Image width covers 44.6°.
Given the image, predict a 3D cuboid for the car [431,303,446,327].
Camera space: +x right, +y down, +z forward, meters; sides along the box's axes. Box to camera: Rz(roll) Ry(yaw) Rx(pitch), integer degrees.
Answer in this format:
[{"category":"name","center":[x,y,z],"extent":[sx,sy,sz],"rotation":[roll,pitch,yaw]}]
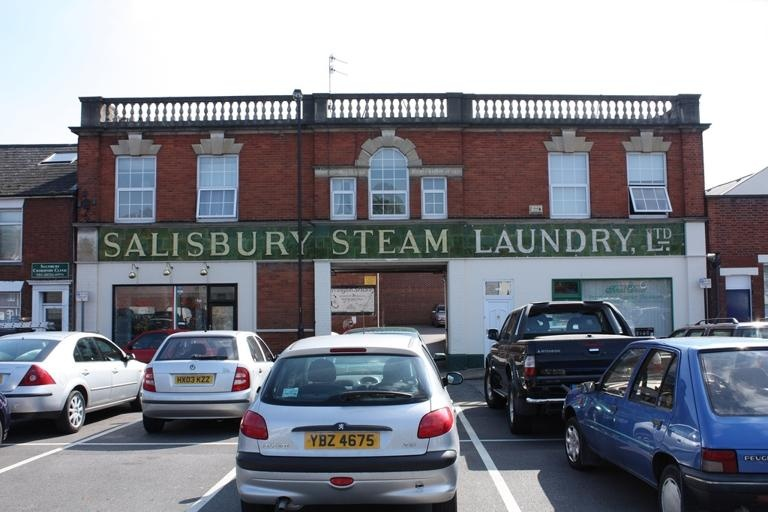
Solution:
[{"category":"car","center":[3.305,3.694,56.949],"extent":[0.900,0.786,2.112],"rotation":[0,4,2]}]

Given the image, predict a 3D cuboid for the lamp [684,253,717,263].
[{"category":"lamp","center":[11.302,0.081,33.332],"extent":[1.051,0.452,0.330],"rotation":[-4,-4,16]}]

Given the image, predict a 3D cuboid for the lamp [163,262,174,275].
[{"category":"lamp","center":[-7.625,0.472,32.990],"extent":[0.321,0.436,0.386],"rotation":[-3,-4,-7]}]

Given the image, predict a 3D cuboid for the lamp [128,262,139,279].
[{"category":"lamp","center":[-8.845,0.528,33.019],"extent":[0.374,0.532,0.322],"rotation":[-2,-4,-9]}]

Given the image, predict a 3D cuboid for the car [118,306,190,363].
[{"category":"car","center":[-7.797,2.622,30.770],"extent":[1.648,1.279,2.734],"rotation":[-1,2,-10]}]

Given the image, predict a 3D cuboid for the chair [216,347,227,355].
[{"category":"chair","center":[-3.770,2.220,21.754],"extent":[0.258,0.254,0.140],"rotation":[0,-1,2]}]

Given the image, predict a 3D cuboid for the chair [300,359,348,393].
[{"category":"chair","center":[-1.123,2.244,17.263],"extent":[0.706,0.508,0.588],"rotation":[0,-15,5]}]

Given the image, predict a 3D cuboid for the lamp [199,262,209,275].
[{"category":"lamp","center":[-6.429,0.481,32.958],"extent":[0.241,0.417,0.433],"rotation":[1,-5,10]}]

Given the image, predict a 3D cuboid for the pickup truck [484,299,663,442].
[{"category":"pickup truck","center":[3.832,2.399,21.682],"extent":[2.169,1.679,3.908],"rotation":[-1,-1,-6]}]
